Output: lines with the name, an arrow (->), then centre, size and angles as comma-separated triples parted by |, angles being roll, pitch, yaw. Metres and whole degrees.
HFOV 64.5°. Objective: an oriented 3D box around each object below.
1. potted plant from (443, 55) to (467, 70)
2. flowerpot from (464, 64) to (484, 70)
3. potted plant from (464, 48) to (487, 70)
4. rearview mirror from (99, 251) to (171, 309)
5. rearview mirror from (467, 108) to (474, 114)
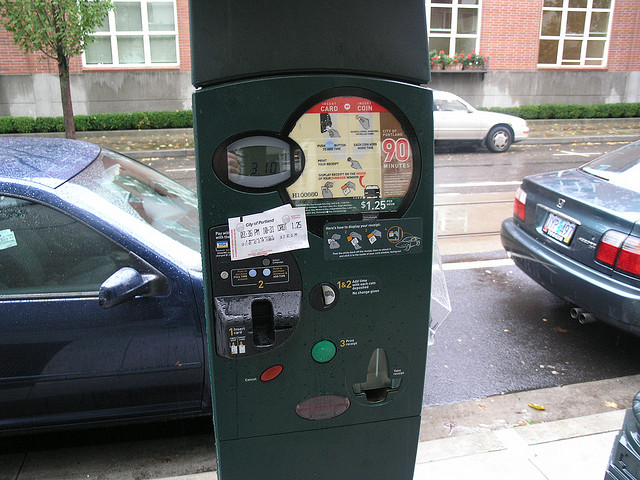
potted plant -> 5.156, -6.872, 19.733 | 0.614, 0.661, 0.235 | -1, 6, 4
flowerpot -> 6.001, -6.733, 19.744 | 0.840, 0.179, 0.132 | -7, 19, -17
potted plant -> 6.016, -6.934, 19.733 | 0.938, 0.561, 0.240 | -7, 18, -16
rearview mirror -> -1.105, 0.255, 3.048 | 0.273, 0.256, 0.343 | 3, 19, 14
rearview mirror -> 4.104, -3.553, 13.909 | 0.121, 0.173, 0.056 | 2, -8, -3
